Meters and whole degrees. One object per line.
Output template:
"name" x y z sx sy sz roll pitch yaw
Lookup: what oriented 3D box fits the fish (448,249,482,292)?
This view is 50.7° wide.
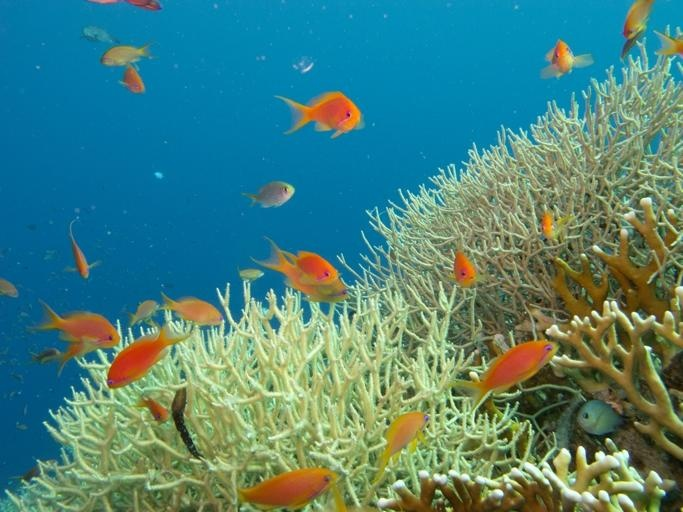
"fish" 1.917 0.249 11.271 0.370 0.521 0.290 28 56 35

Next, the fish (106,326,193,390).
"fish" -2.912 1.492 10.576 1.230 0.656 0.314 -26 44 -12

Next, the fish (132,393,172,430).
"fish" -2.788 2.299 10.713 0.583 0.196 0.347 36 102 9

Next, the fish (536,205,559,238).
"fish" 3.332 -0.530 11.587 0.247 0.481 0.640 0 46 13
